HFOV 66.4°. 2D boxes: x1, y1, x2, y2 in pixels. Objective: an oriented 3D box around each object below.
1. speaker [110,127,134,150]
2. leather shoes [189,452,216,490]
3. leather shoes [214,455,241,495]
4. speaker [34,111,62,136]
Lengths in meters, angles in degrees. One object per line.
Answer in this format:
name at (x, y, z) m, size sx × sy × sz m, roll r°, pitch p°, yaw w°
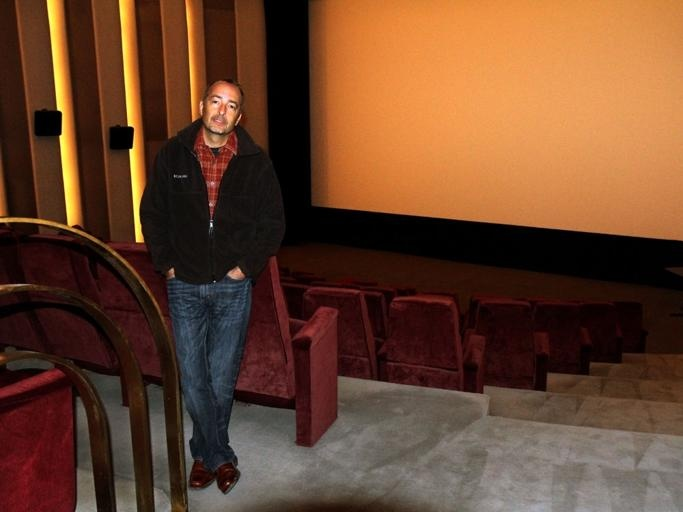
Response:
speaker at (-3.015, -1.635, 7.124) m, size 0.244 × 0.254 × 0.135 m, roll -13°, pitch 29°, yaw -41°
leather shoes at (-0.635, 0.996, 2.364) m, size 0.065 × 0.065 × 0.150 m, roll 1°, pitch -8°, yaw 4°
leather shoes at (-0.514, 0.994, 2.354) m, size 0.055 × 0.080 × 0.173 m, roll -13°, pitch -3°, yaw 4°
speaker at (-3.435, -1.573, 6.076) m, size 0.255 × 0.270 × 0.090 m, roll -10°, pitch 18°, yaw -43°
